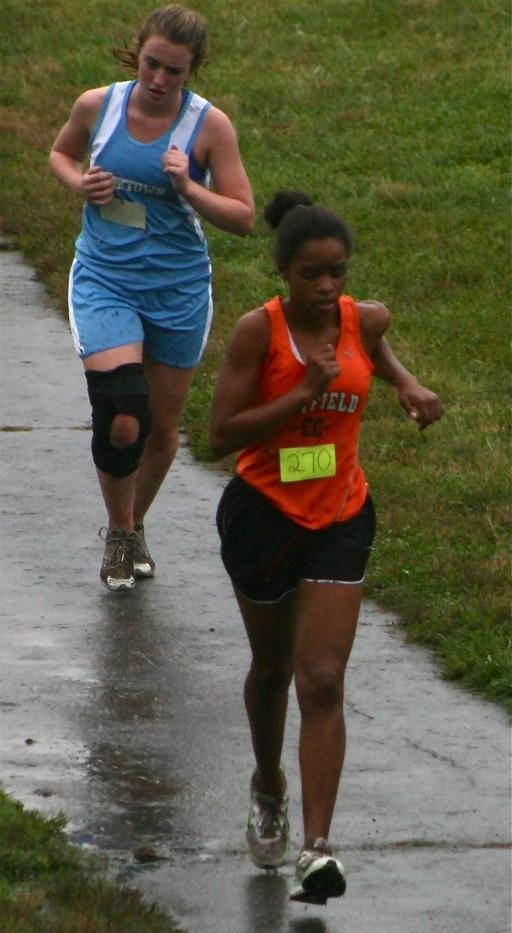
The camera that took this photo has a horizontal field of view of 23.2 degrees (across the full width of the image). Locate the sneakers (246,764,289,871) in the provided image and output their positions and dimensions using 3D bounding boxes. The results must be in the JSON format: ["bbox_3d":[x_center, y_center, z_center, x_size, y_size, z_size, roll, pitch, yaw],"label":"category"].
[{"bbox_3d":[0.023,0.991,3.572,0.102,0.277,0.124,1,-14,-3],"label":"sneakers"}]

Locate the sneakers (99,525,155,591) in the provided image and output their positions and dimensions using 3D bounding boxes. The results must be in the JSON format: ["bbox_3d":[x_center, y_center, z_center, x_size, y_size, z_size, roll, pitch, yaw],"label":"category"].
[{"bbox_3d":[-0.564,0.399,5.432,0.138,0.154,0.365,1,12,-8],"label":"sneakers"}]

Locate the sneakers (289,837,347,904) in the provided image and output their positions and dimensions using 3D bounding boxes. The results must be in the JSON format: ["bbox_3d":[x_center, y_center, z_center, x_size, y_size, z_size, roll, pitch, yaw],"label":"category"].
[{"bbox_3d":[0.143,0.982,3.027,0.088,0.111,0.206,10,-22,-10],"label":"sneakers"}]
